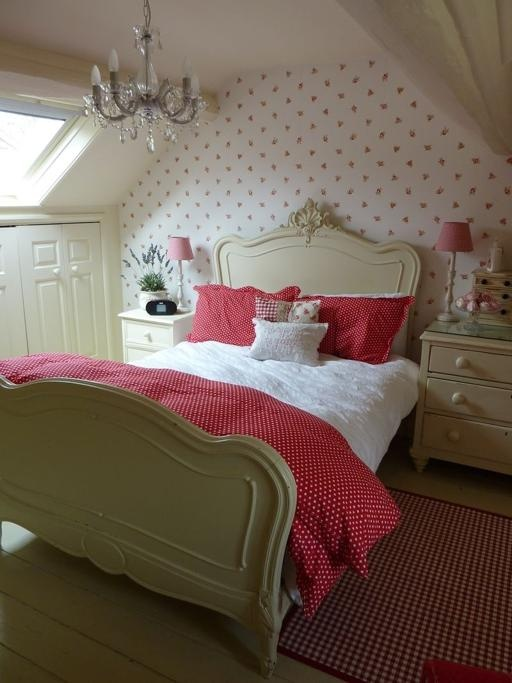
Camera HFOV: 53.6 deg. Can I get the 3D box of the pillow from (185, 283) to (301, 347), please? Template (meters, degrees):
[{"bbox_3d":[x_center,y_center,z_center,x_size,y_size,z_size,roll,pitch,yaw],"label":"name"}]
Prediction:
[{"bbox_3d":[-0.134,-0.168,3.414,0.653,0.424,0.175,-1,-20,36],"label":"pillow"}]

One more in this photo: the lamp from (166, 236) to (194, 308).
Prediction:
[{"bbox_3d":[-0.581,-0.521,3.866,0.252,0.517,0.223,-3,8,-36],"label":"lamp"}]

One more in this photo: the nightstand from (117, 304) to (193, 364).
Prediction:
[{"bbox_3d":[-0.736,0.032,3.951,0.497,0.561,0.447,12,24,25],"label":"nightstand"}]

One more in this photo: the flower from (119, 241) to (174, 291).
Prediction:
[{"bbox_3d":[-0.959,-0.665,4.271,0.276,0.287,0.277,-22,30,-32],"label":"flower"}]

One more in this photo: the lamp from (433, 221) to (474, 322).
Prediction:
[{"bbox_3d":[1.137,-0.406,2.951,0.192,0.568,0.276,7,15,21],"label":"lamp"}]

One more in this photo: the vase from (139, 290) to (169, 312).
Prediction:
[{"bbox_3d":[-0.797,-0.329,3.940,0.182,0.128,0.175,8,19,21],"label":"vase"}]
